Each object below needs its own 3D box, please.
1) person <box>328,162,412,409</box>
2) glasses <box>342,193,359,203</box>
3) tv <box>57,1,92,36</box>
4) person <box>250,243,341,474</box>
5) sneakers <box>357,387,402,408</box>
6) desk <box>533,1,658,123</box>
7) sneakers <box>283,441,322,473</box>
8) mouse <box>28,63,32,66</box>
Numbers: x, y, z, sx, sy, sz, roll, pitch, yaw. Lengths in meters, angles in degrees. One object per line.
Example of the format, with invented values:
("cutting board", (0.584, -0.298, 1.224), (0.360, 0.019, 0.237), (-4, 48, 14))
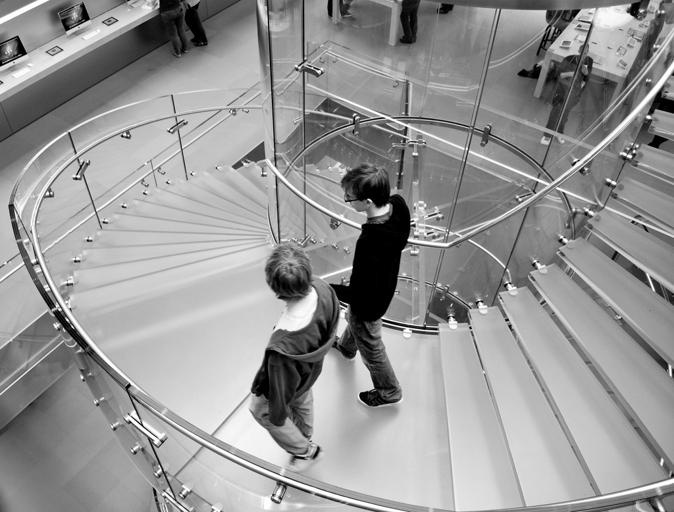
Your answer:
("person", (0.233, 0.224, 3.002), (0.513, 1.639, 0.679), (1, 37, -1))
("glasses", (0.084, -0.344, 2.708), (0.059, 0.019, 0.065), (9, 44, 2))
("tv", (-3.965, -3.565, 6.714), (0.180, 0.352, 0.501), (25, 67, 20))
("person", (-0.225, 0.645, 2.613), (0.572, 1.477, 0.352), (-30, 46, -35))
("sneakers", (0.313, 1.028, 3.238), (0.320, 0.139, 0.137), (1, 70, 8))
("desk", (2.037, -1.568, 3.676), (0.503, 0.628, 1.022), (24, 76, 11))
("sneakers", (-0.218, 1.285, 2.854), (0.279, 0.123, 0.105), (-40, 68, -11))
("mouse", (-4.327, -2.695, 6.301), (0.033, 0.009, 0.040), (4, 56, -10))
